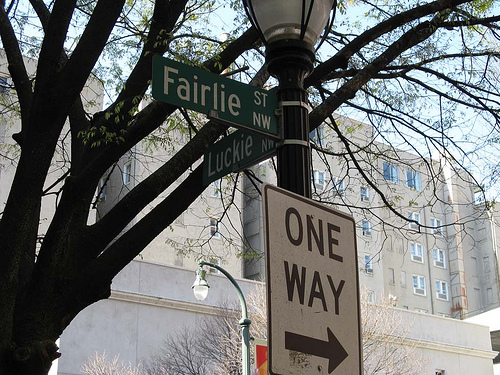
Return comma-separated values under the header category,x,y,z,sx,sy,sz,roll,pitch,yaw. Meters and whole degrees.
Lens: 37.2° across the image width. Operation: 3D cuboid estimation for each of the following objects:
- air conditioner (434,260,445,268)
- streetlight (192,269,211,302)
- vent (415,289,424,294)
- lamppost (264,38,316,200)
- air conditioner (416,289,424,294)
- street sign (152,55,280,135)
category,x,y,z,sx,sy,sz,roll,pitch,yaw
air conditioner,14.891,6.025,58.822,0.966,0.648,0.222,9,-7,-42
streetlight,-1.195,2.290,17.796,0.316,0.913,0.365,-7,-22,11
vent,12.809,7.880,56.521,0.536,0.455,0.123,4,-7,-33
lamppost,0.432,-0.754,7.507,0.352,2.092,0.249,6,-8,-35
air conditioner,12.831,7.883,56.538,0.589,0.389,0.144,0,-1,34
street sign,-0.306,-0.931,7.587,1.413,0.037,0.567,17,-47,4
